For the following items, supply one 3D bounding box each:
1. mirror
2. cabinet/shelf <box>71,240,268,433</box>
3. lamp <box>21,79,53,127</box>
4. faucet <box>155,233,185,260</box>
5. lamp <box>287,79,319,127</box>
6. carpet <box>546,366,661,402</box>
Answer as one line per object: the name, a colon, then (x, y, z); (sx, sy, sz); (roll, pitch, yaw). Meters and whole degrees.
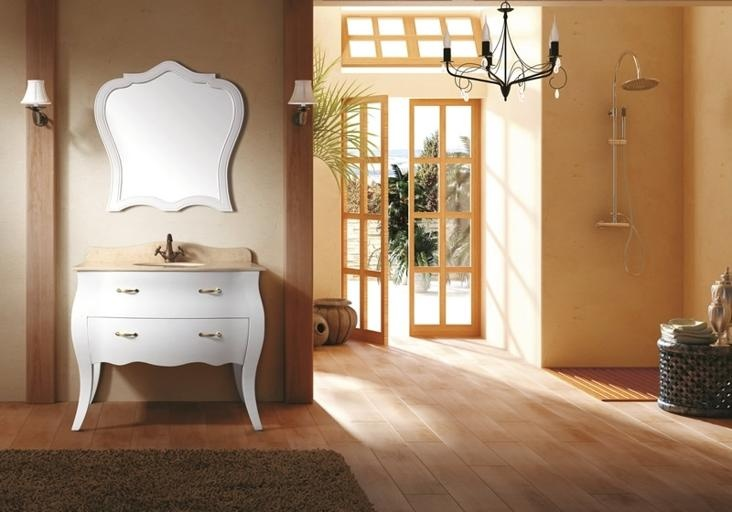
mirror: (-1.472, -0.898, 4.580); (1.134, 1.103, 0.059); (0, 1, -5)
cabinet/shelf: (-1.360, 0.524, 4.382); (1.219, 1.134, 0.668); (1, 5, -18)
lamp: (-2.300, -1.072, 4.420); (0.175, 0.329, 0.340); (-3, 8, -26)
faucet: (-1.411, -0.057, 4.545); (0.197, 0.183, 0.093); (0, -1, -9)
lamp: (-0.442, -1.074, 4.484); (0.190, 0.310, 0.198); (-5, 17, -24)
carpet: (2.119, 1.055, 5.241); (0.973, 0.030, 0.942); (1, 7, -2)
